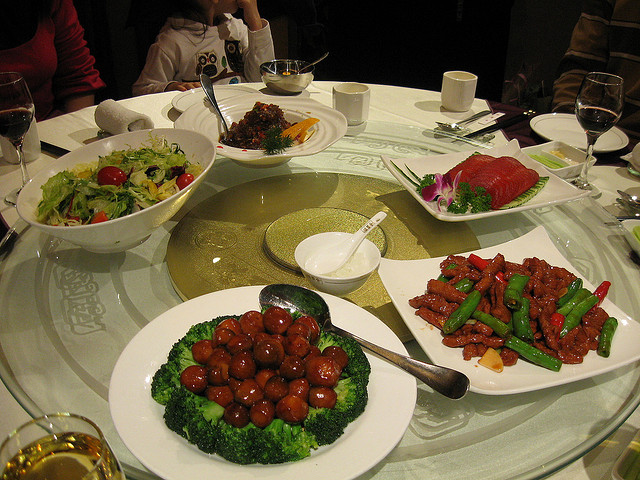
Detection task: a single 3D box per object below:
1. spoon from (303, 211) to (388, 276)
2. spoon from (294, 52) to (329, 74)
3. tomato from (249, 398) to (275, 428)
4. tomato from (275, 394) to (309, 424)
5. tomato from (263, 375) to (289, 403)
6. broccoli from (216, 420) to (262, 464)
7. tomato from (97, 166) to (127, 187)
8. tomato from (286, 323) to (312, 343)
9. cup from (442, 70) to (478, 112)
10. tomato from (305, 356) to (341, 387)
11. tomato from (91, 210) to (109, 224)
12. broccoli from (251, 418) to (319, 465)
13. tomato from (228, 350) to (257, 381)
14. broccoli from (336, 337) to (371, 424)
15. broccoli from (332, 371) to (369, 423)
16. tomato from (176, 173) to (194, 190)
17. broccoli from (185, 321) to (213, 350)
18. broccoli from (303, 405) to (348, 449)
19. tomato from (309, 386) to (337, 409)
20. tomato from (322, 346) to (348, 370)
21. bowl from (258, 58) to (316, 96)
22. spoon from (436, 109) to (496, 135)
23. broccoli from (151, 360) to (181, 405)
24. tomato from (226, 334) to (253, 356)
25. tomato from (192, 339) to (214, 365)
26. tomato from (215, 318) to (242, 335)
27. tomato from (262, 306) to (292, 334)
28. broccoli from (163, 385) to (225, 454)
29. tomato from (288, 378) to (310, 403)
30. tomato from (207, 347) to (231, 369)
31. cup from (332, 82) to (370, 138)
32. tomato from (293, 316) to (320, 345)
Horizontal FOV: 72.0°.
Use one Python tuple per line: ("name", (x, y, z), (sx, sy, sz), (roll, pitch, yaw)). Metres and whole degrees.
("spoon", (0.116, 0.020, 1.508), (0.313, 0.043, 0.092), (-40, 38, -22))
("spoon", (0.004, -1.145, 2.793), (0.073, 0.053, 0.438), (48, 47, 6))
("tomato", (-0.132, 0.395, 1.004), (0.043, 0.048, 0.061), (10, 23, 4))
("tomato", (-0.063, 0.374, 0.974), (0.059, 0.035, 0.065), (-14, 82, -6))
("tomato", (-0.103, 0.351, 1.036), (0.049, 0.029, 0.053), (3, 60, -15))
("broccoli", (-0.184, 0.445, 0.971), (0.103, 0.025, 0.076), (9, 50, 6))
("tomato", (-0.738, -0.224, 1.551), (0.096, 0.032, 0.076), (15, 50, 11))
("tomato", (-0.053, 0.230, 1.132), (0.048, 0.028, 0.045), (24, 30, 5))
("cup", (0.782, -0.849, 2.470), (0.206, 0.187, 0.191), (-2, 39, 2))
("tomato", (0.004, 0.316, 1.064), (0.076, 0.057, 0.064), (8, 87, -19))
("tomato", (-0.730, -0.075, 1.455), (0.055, 0.021, 0.044), (-11, 48, 13))
("broccoli", (-0.081, 0.441, 0.980), (0.096, 0.036, 0.083), (7, 36, -13))
("tomato", (-0.187, 0.301, 1.061), (0.048, 0.069, 0.056), (8, 88, 20))
("broccoli", (0.082, 0.337, 1.076), (0.079, 0.050, 0.139), (1, 56, 18))
("broccoli", (0.063, 0.371, 1.030), (0.071, 0.036, 0.094), (7, 53, 19))
("tomato", (-0.490, -0.219, 1.591), (0.064, 0.025, 0.074), (-18, 52, -17))
("broccoli", (-0.320, 0.251, 1.153), (0.048, 0.025, 0.059), (1, 28, 0))
("broccoli", (0.004, 0.424, 1.026), (0.107, 0.046, 0.136), (-13, 25, 14))
("tomato", (0.005, 0.368, 1.034), (0.052, 0.041, 0.045), (1, 83, -8))
("tomato", (0.038, 0.288, 1.119), (0.052, 0.029, 0.054), (27, 19, 17))
("bowl", (-0.187, -0.927, 2.588), (0.284, 0.128, 0.302), (4, 26, -2))
("spoon", (0.772, -0.624, 2.323), (0.318, 0.053, 0.061), (-30, 50, -32))
("broccoli", (-0.370, 0.338, 1.052), (0.062, 0.047, 0.089), (13, 55, -2))
("tomato", (-0.203, 0.259, 1.111), (0.054, 0.044, 0.040), (18, 2, -25))
("tomato", (-0.297, 0.280, 1.105), (0.054, 0.031, 0.059), (10, 50, -10))
("tomato", (-0.243, 0.220, 1.151), (0.037, 0.050, 0.031), (25, 93, 20))
("tomato", (-0.115, 0.210, 1.153), (0.056, 0.039, 0.068), (5, 34, -12))
("broccoli", (-0.284, 0.410, 1.003), (0.114, 0.062, 0.124), (14, 69, 10))
("tomato", (-0.052, 0.350, 1.052), (0.038, 0.030, 0.051), (-5, 32, -34))
("tomato", (-0.250, 0.289, 1.081), (0.058, 0.021, 0.054), (-11, 50, -11))
("cup", (0.171, -0.716, 2.307), (0.187, 0.199, 0.149), (-31, 47, -33))
("tomato", (-0.031, 0.232, 1.184), (0.065, 0.034, 0.067), (-1, 55, -57))
